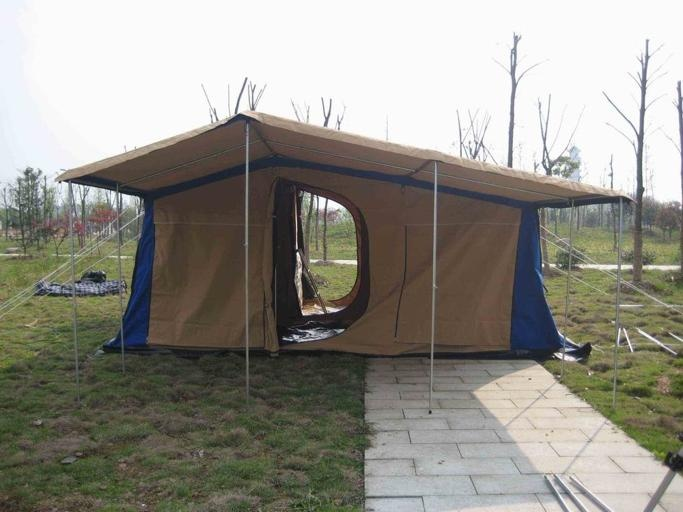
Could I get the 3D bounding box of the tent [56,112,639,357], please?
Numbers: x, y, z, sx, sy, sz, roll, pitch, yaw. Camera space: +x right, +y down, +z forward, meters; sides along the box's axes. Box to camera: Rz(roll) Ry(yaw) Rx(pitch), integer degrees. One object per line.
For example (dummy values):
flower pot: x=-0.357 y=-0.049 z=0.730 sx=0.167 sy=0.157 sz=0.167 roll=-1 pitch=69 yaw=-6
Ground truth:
tent: x=-0.099 y=-0.143 z=9.278 sx=6.722 sy=3.165 sz=5.007 roll=0 pitch=3 yaw=-5
